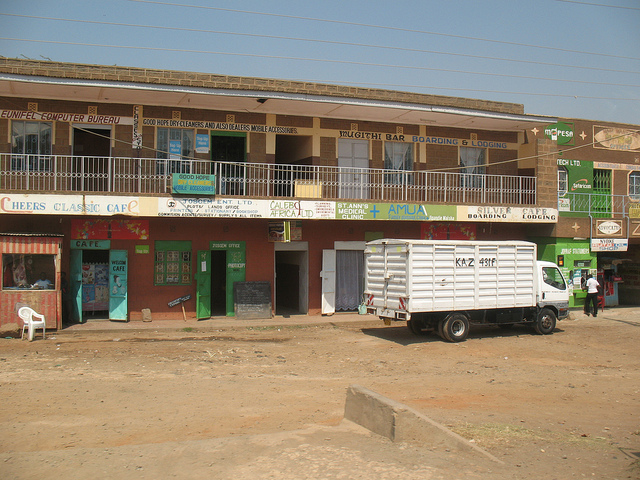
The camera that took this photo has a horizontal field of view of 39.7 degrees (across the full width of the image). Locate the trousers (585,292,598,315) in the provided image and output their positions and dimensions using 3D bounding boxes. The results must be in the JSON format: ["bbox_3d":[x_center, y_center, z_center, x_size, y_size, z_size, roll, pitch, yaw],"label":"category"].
[{"bbox_3d":[11.790,2.741,38.349,0.391,1.030,0.919,-1,11,-8],"label":"trousers"}]

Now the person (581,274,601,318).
[{"bbox_3d":[11.805,2.530,38.305,0.473,1.681,0.924,1,12,3],"label":"person"}]

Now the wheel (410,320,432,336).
[{"bbox_3d":[3.738,3.226,32.548,0.564,0.535,0.158,12,0,-26],"label":"wheel"}]

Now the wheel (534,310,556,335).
[{"bbox_3d":[8.475,3.093,33.382,0.843,0.801,0.291,15,-12,-34],"label":"wheel"}]

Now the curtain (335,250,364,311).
[{"bbox_3d":[1.286,1.724,38.240,1.311,2.648,0.594,-2,12,-14],"label":"curtain"}]

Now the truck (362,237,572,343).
[{"bbox_3d":[5.698,1.854,33.592,7.831,3.571,3.435,1,-2,-28],"label":"truck"}]

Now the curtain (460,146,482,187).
[{"bbox_3d":[6.902,-3.626,40.318,1.102,1.147,0.368,-6,13,-30],"label":"curtain"}]

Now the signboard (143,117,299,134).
[{"bbox_3d":[-4.049,-4.691,36.360,6.256,0.670,0.375,-3,12,-20],"label":"signboard"}]

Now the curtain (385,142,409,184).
[{"bbox_3d":[3.549,-3.204,39.163,0.064,2.279,1.725,-23,18,-39],"label":"curtain"}]

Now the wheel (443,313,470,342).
[{"bbox_3d":[4.910,3.162,31.823,1.022,0.963,0.359,6,-2,-13],"label":"wheel"}]

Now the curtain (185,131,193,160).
[{"bbox_3d":[-5.295,-3.888,35.998,0.297,1.023,0.282,-1,12,-6],"label":"curtain"}]

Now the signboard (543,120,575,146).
[{"bbox_3d":[10.839,-4.897,40.353,1.334,0.858,0.060,1,-3,-26],"label":"signboard"}]

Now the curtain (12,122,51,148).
[{"bbox_3d":[-11.248,-4.088,34.423,1.040,0.709,0.136,-6,11,-24],"label":"curtain"}]

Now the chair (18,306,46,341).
[{"bbox_3d":[-10.093,2.940,31.100,0.837,1.058,0.811,0,0,36],"label":"chair"}]
